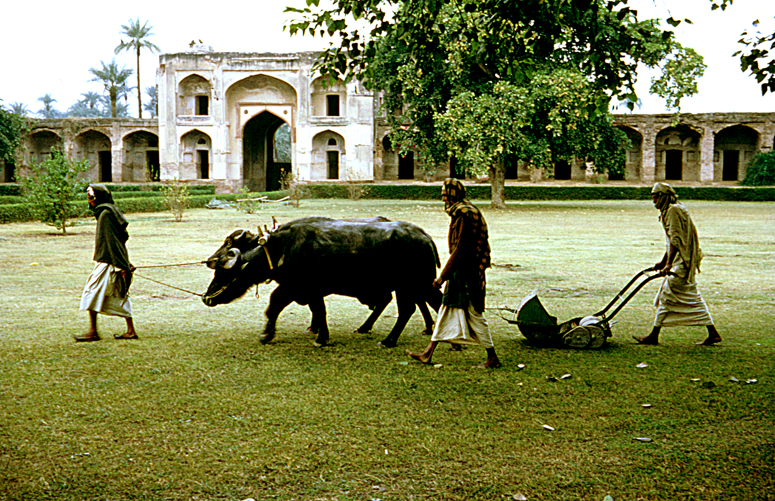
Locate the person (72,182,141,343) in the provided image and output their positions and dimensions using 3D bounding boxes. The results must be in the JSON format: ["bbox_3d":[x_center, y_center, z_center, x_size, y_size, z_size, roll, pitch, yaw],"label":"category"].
[{"bbox_3d":[-4.858,0.207,19.551,0.990,2.682,0.566,-2,6,-10],"label":"person"}]

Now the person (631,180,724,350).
[{"bbox_3d":[4.964,0.240,19.388,1.081,2.756,0.411,0,7,11],"label":"person"}]
